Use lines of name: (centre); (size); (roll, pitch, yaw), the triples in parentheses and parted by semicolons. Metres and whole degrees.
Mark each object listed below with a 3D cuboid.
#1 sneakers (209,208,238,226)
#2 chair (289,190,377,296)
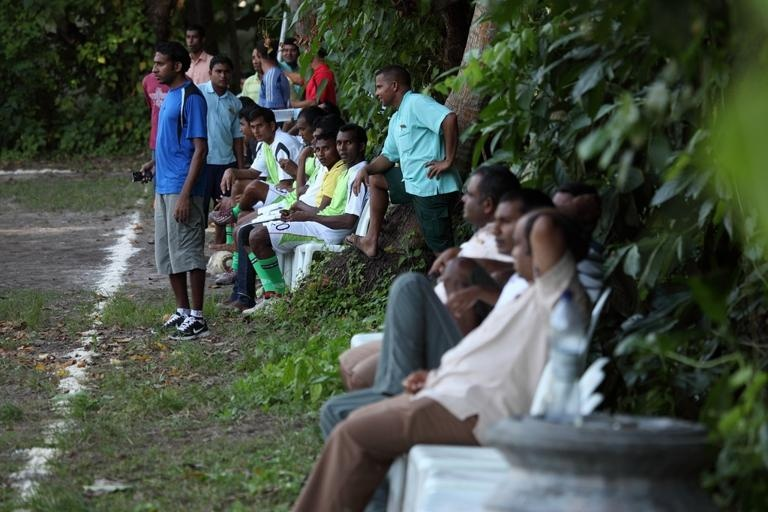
sneakers: (-1.882, -0.444, 9.441); (0.392, 0.148, 0.179); (-1, -35, 6)
chair: (-0.472, -0.108, 8.272); (0.947, 1.326, 0.807); (4, -1, -16)
